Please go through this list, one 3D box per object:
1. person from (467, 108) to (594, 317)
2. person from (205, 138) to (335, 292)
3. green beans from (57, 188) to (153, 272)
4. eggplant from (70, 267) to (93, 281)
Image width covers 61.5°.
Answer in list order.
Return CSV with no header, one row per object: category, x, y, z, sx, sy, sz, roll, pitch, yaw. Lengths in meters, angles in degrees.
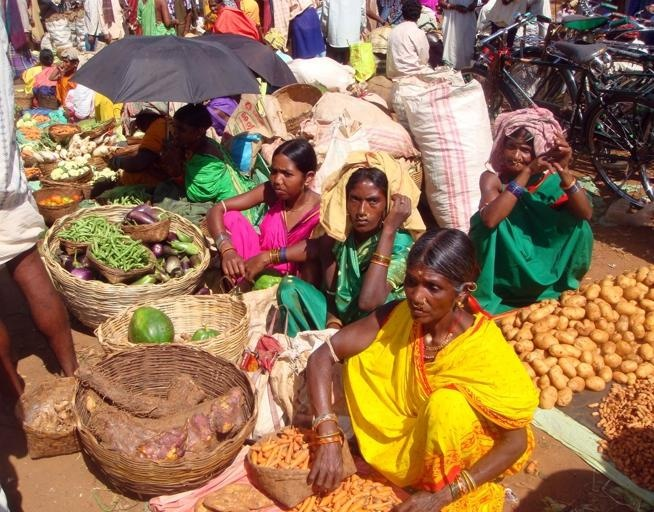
person,1.661,-0.402,4.627,0.983,1.695,1.075,-9,15,11
person,-0.468,-0.300,4.627,0.846,1.396,0.844,-4,29,-36
green beans,-1.845,-0.176,4.605,0.607,0.221,0.468,40,31,26
eggplant,-1.985,0.133,4.404,0.109,0.118,0.112,6,12,-15
